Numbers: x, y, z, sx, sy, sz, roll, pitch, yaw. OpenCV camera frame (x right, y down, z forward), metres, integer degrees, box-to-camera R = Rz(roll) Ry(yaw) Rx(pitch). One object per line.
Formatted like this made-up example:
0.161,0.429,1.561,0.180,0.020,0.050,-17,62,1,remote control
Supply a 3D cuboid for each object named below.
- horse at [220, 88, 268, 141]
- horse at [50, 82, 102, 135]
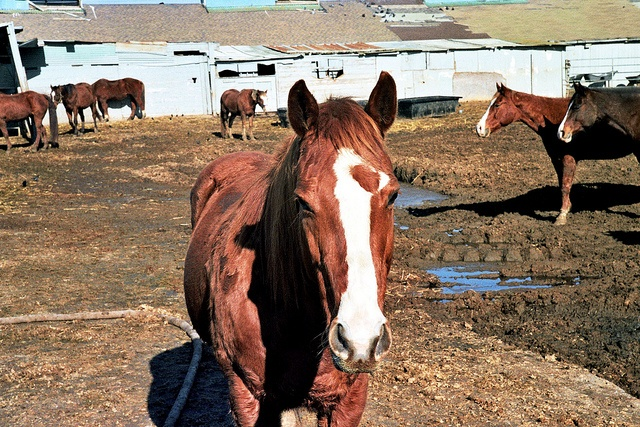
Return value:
-3.317,-4.368,40.204,0.950,2.255,3.189,-5,9,-41,horse
-11.044,-4.814,42.059,1.059,2.407,3.879,0,12,11,horse
